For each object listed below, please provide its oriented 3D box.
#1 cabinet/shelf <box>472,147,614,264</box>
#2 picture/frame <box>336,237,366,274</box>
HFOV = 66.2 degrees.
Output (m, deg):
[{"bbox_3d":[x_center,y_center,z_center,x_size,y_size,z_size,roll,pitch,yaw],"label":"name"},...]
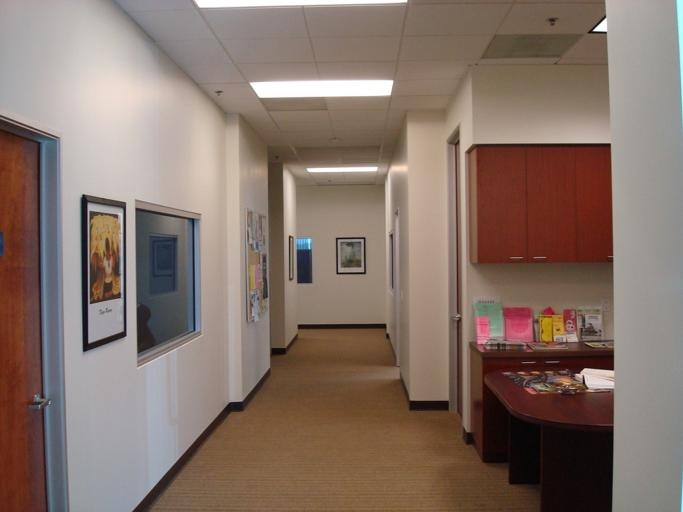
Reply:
[{"bbox_3d":[1.828,-0.409,4.785,1.182,1.121,0.489,1,-6,9],"label":"cabinet/shelf"},{"bbox_3d":[0.198,0.029,11.249,0.669,0.898,0.050,0,-3,-3],"label":"picture/frame"}]
